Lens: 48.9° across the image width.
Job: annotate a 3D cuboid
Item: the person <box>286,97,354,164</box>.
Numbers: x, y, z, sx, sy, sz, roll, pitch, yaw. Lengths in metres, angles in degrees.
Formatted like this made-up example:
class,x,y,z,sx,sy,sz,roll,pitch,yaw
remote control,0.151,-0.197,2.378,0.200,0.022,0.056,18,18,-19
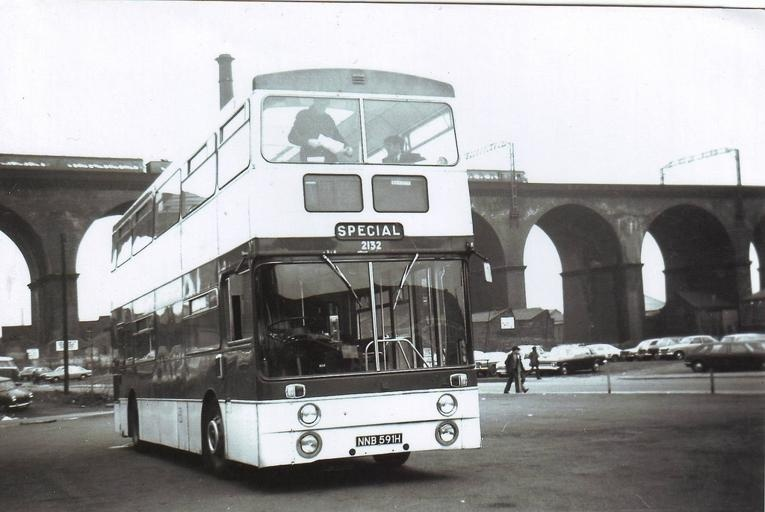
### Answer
class,x,y,z,sx,sy,sz,roll,pitch,yaw
person,-0.967,-1.910,12.990,0.834,0.544,1.190,3,-49,-1
